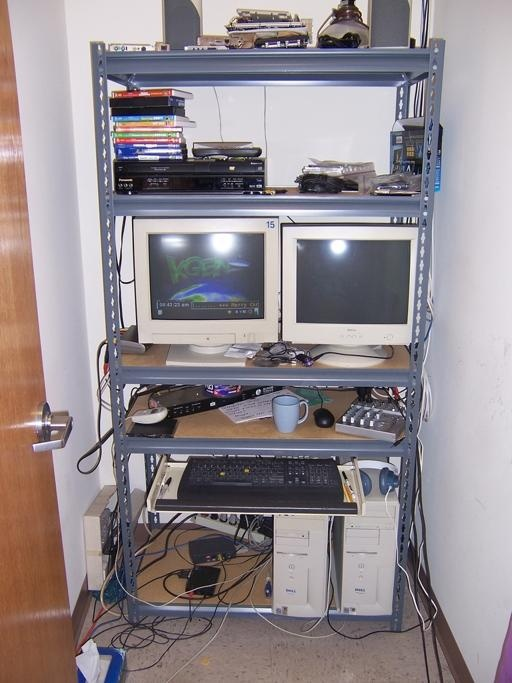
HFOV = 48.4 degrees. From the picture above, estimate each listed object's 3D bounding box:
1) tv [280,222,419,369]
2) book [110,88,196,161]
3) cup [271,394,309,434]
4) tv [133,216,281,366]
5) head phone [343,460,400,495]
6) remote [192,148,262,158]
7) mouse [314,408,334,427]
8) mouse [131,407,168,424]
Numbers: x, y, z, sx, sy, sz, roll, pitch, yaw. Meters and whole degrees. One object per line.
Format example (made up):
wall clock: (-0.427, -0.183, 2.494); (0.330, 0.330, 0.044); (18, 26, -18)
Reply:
tv: (0.237, -0.124, 1.906); (0.567, 0.541, 0.320); (0, 25, 6)
book: (-0.303, -0.633, 1.707); (0.234, 0.216, 0.193); (-1, 22, -2)
cup: (0.108, 0.239, 1.839); (0.084, 0.102, 0.132); (1, 1, 41)
tv: (-0.163, -0.171, 1.918); (0.609, 0.575, 0.341); (0, 24, 2)
head phone: (0.405, 0.459, 1.950); (0.124, 0.065, 0.141); (0, 33, 0)
remote: (-0.087, -0.553, 1.663); (0.190, 0.043, 0.148); (-3, 14, -9)
mouse: (0.221, 0.244, 1.844); (0.043, 0.020, 0.063); (-1, 40, 3)
mouse: (-0.343, 0.230, 1.832); (0.089, 0.035, 0.054); (0, 17, -2)
